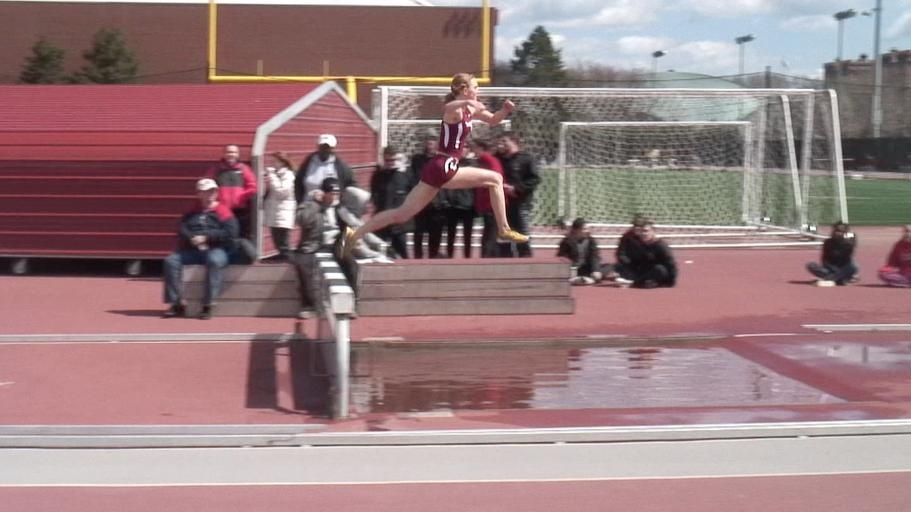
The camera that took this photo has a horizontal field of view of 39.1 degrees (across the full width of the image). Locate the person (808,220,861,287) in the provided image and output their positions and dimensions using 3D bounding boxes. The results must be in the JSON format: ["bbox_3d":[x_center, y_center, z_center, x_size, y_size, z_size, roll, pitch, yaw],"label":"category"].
[{"bbox_3d":[8.615,-0.030,28.982,1.184,1.373,1.002,-1,2,14],"label":"person"}]

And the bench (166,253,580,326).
[{"bbox_3d":[-1.015,0.789,26.899,8.193,0.786,1.484,-2,-4,24],"label":"bench"}]
